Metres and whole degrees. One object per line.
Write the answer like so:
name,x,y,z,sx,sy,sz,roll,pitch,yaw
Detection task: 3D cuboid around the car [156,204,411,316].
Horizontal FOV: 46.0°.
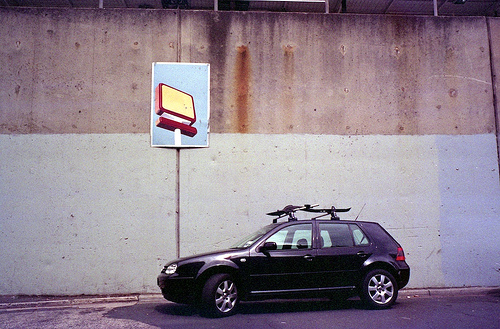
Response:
car,1.087,3.057,17.845,6.176,2.700,3.085,2,-17,-5
